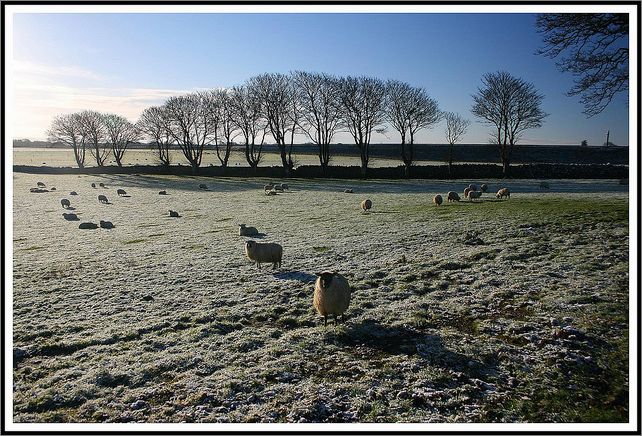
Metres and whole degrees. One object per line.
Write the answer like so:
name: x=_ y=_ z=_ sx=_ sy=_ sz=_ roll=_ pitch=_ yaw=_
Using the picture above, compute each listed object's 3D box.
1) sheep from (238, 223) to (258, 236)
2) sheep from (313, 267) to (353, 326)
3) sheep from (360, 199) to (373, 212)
sheep: x=-3.941 y=0.670 z=24.250 sx=0.525 sy=0.554 sz=1.204 roll=-5 pitch=-16 yaw=20
sheep: x=0.393 y=2.552 z=14.202 sx=1.116 sy=1.812 sz=0.630 roll=-6 pitch=8 yaw=-9
sheep: x=3.423 y=-0.986 z=31.227 sx=0.849 sy=1.001 sz=0.939 roll=0 pitch=-2 yaw=-8
